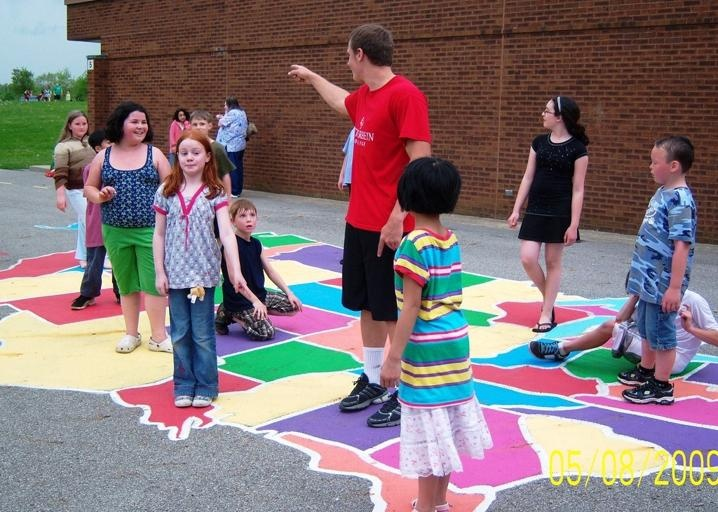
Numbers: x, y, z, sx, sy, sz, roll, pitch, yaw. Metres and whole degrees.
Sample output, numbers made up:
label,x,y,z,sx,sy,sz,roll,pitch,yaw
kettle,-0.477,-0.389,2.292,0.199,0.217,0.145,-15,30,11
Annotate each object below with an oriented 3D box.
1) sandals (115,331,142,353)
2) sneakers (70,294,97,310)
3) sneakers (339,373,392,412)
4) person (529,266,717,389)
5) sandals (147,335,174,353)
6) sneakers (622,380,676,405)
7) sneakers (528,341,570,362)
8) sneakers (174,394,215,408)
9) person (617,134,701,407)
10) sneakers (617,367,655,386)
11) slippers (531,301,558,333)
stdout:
label,x,y,z,sx,sy,sz,roll,pitch,yaw
sandals,-2.229,0.844,5.939,0.107,0.103,0.264,0,1,2
sneakers,-3.198,0.550,7.191,0.123,0.115,0.272,-1,-1,20
sneakers,0.042,1.075,4.908,0.462,0.253,0.158,-6,5,-36
person,2.363,0.591,5.481,1.659,0.726,0.764,-1,7,38
sandals,-1.882,0.843,5.959,0.360,0.151,0.187,1,6,4
sneakers,2.298,1.063,4.941,0.406,0.204,0.170,2,1,5
sneakers,1.728,0.860,5.630,0.432,0.149,0.195,5,-9,-10
sneakers,-1.290,1.140,4.870,0.296,0.081,0.123,-2,15,-16
person,2.375,0.117,4.853,0.465,2.065,0.526,8,15,24
sneakers,2.302,0.997,5.130,0.105,0.126,0.265,-9,6,-39
slippers,1.992,0.722,6.621,0.139,0.177,0.418,-2,0,35
